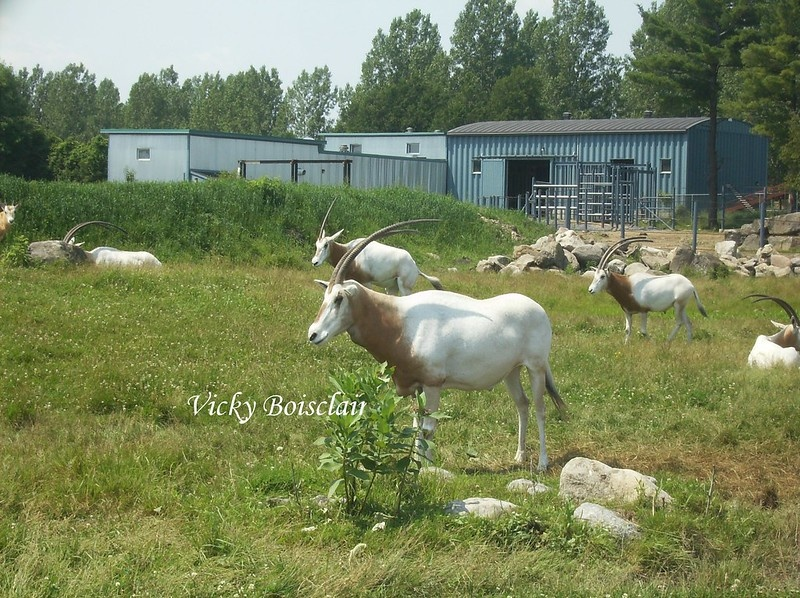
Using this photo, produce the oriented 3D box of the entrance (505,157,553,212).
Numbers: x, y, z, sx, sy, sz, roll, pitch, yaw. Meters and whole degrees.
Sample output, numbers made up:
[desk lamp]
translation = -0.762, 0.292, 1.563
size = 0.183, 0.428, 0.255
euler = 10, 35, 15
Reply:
[entrance]
translation = 6.680, -6.427, 62.161
size = 1.980, 2.928, 3.742
euler = 1, 6, 16
